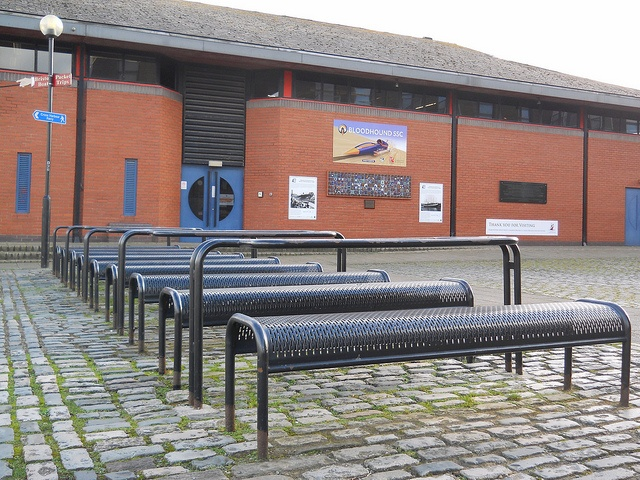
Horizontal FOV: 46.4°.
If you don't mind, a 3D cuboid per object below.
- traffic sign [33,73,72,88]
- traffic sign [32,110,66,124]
[{"bbox_3d":[-5.853,-3.483,16.421,0.766,0.273,1.681,-2,12,-15],"label":"traffic sign"},{"bbox_3d":[-6.221,-2.776,17.097,1.226,0.337,0.023,7,-10,27],"label":"traffic sign"}]
